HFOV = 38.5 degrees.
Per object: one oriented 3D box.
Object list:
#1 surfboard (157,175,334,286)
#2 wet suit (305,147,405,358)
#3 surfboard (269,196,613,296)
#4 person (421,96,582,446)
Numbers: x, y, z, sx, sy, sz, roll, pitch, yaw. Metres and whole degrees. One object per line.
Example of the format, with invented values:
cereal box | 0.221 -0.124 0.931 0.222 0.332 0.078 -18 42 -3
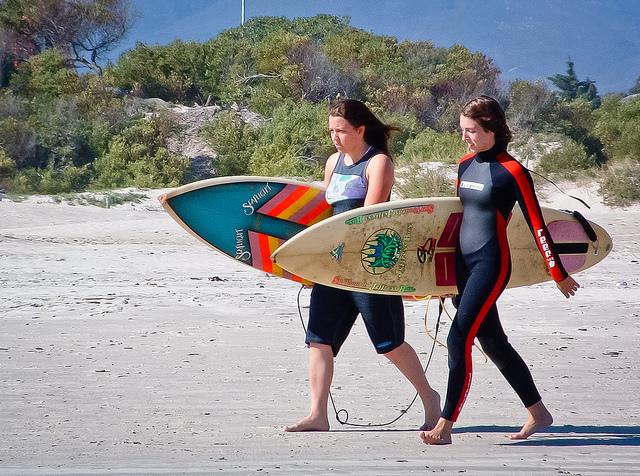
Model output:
surfboard | -0.655 -0.221 8.185 2.339 0.610 0.297 13 -4 11
wet suit | 0.338 0.118 7.613 0.812 1.721 0.503 2 11 12
surfboard | 1.198 0.138 8.014 2.224 0.942 1.828 2 8 30
person | 1.412 0.248 7.342 0.982 2.737 0.826 2 11 12
